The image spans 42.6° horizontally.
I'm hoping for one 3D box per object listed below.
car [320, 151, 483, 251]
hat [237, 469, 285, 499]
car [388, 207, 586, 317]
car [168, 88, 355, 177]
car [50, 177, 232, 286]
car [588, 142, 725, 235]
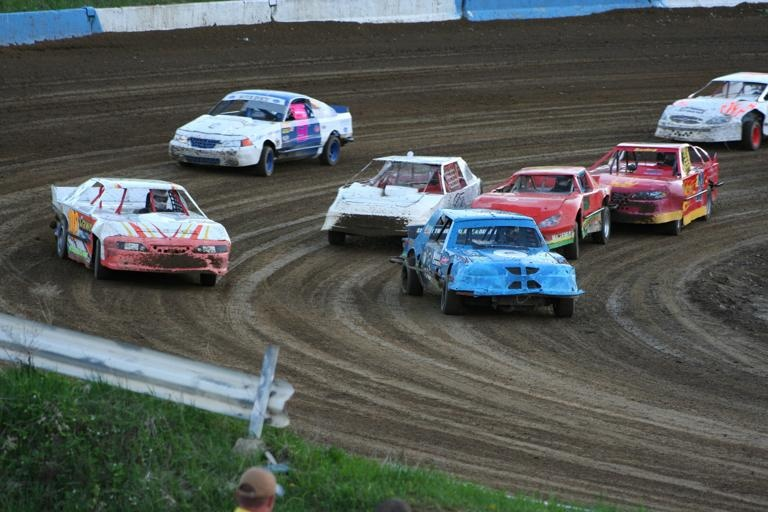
[{"bbox_3d":[0.491,-1.159,18.904,1.896,1.048,2.916,2,10,26],"label":"car"},{"bbox_3d":[-1.196,2.154,9.298,0.265,0.262,0.293,12,29,32],"label":"hat"},{"bbox_3d":[1.643,0.062,15.237,1.758,0.791,2.702,2,2,-13],"label":"car"},{"bbox_3d":[-2.877,-2.801,23.068,1.599,1.943,3.803,14,28,35],"label":"car"},{"bbox_3d":[-4.220,-0.543,16.511,1.988,0.870,2.817,2,5,-27],"label":"car"},{"bbox_3d":[5.753,-1.476,20.353,1.954,0.924,2.808,4,5,28],"label":"car"}]
